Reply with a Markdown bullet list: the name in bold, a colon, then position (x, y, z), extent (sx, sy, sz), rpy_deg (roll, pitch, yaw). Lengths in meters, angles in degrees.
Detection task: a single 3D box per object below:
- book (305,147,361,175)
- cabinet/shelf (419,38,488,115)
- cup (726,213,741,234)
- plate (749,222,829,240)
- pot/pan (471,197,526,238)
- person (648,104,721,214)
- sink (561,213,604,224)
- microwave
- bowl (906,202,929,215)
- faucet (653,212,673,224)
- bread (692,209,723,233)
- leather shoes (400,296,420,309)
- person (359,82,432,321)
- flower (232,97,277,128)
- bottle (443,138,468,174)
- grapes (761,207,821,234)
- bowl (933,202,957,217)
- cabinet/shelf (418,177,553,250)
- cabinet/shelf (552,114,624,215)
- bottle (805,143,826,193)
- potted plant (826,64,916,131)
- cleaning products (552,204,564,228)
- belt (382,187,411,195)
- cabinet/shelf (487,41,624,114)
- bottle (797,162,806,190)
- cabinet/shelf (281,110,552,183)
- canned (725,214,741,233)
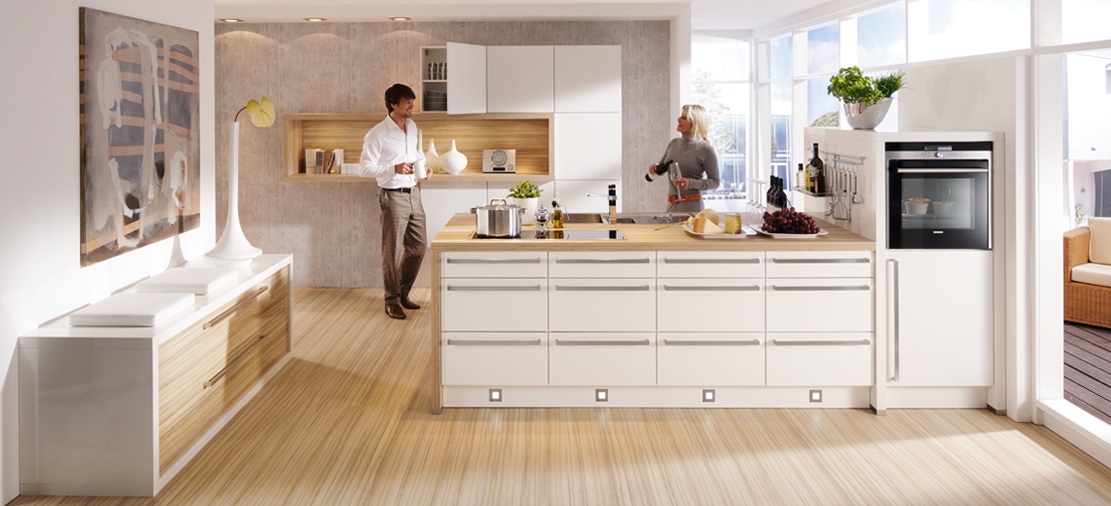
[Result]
- **book**: position (-3.220, -1.292, 10.115), extent (0.844, 0.365, 0.405), rpy_deg (0, 12, 1)
- **cabinet/shelf**: position (-1.434, -2.408, 9.882), extent (1.083, 0.805, 0.822), rpy_deg (1, 9, 2)
- **cup**: position (1.791, -0.293, 7.149), extent (0.219, 0.181, 0.193), rpy_deg (1, -1, 3)
- **plate**: position (2.394, -0.194, 7.184), extent (0.766, 0.096, 0.311), rpy_deg (3, 12, 13)
- **pot/pan**: position (-0.592, -0.354, 7.428), extent (0.561, 0.308, 0.426), rpy_deg (0, 2, -2)
- **person**: position (1.581, -1.118, 8.534), extent (0.791, 1.295, 0.852), rpy_deg (2, 13, 7)
- **sink**: position (0.323, -0.390, 8.078), extent (0.456, 0.091, 0.313), rpy_deg (0, 12, -3)
- **microwave**: position (3.816, -0.560, 6.983), extent (1.010, 1.044, 0.345), rpy_deg (-1, 13, -8)
- **bowl**: position (3.617, -0.438, 7.020), extent (0.189, 0.090, 0.162), rpy_deg (0, 0, -11)
- **faucet**: position (1.234, -0.383, 8.049), extent (0.162, 0.077, 0.137), rpy_deg (0, -2, 0)
- **bread**: position (1.580, -0.320, 7.311), extent (0.333, 0.161, 0.212), rpy_deg (-4, 7, -31)
- **leather shoes**: position (-1.963, 0.711, 9.545), extent (0.362, 0.120, 0.107), rpy_deg (0, -1, -3)
- **person**: position (-2.048, -0.670, 9.253), extent (0.768, 2.991, 0.702), rpy_deg (-11, 17, -41)
- **flower**: position (-3.185, -1.543, 7.445), extent (0.126, 0.239, 0.397), rpy_deg (-28, -7, 38)
- **bottle**: position (-1.456, -1.367, 10.155), extent (0.331, 0.474, 0.393), rpy_deg (2, 13, 6)
- **grapes**: position (2.402, -0.322, 7.137), extent (0.449, 0.165, 0.311), rpy_deg (6, 4, 42)
- **bowl**: position (3.891, -0.420, 7.033), extent (0.194, 0.094, 0.178), rpy_deg (0, -2, 0)
- **cabinet/shelf**: position (-0.822, -0.489, 8.416), extent (1.332, 0.959, 0.379), rpy_deg (0, -2, -3)
- **cabinet/shelf**: position (0.470, -1.288, 10.130), extent (0.994, 1.372, 0.375), rpy_deg (1, 13, 5)
- **bottle**: position (2.863, -0.896, 7.659), extent (0.166, 0.541, 0.240), rpy_deg (-3, 13, -13)
- **potted plant**: position (3.278, -1.615, 7.550), extent (0.818, 0.576, 0.798), rpy_deg (-6, 5, -41)
- **cleaning products**: position (0.024, -0.406, 7.644), extent (0.116, 0.264, 0.219), rpy_deg (0, 13, -3)
- **belt**: position (-2.062, -0.800, 9.174), extent (0.332, 0.050, 0.055), rpy_deg (-2, 12, -9)
- **cabinet/shelf**: position (0.253, -2.524, 10.446), extent (2.211, 0.885, 1.053), rpy_deg (7, 13, 28)
- **bottle**: position (2.762, -0.846, 7.896), extent (0.075, 0.269, 0.165), rpy_deg (3, 13, 12)
- **cabinet/shelf**: position (-1.893, -1.549, 9.763), extent (4.003, 0.841, 0.765), rpy_deg (-10, 28, -44)
- **canned**: position (1.812, -0.290, 7.147), extent (0.166, 0.184, 0.153), rpy_deg (3, 13, 12)
